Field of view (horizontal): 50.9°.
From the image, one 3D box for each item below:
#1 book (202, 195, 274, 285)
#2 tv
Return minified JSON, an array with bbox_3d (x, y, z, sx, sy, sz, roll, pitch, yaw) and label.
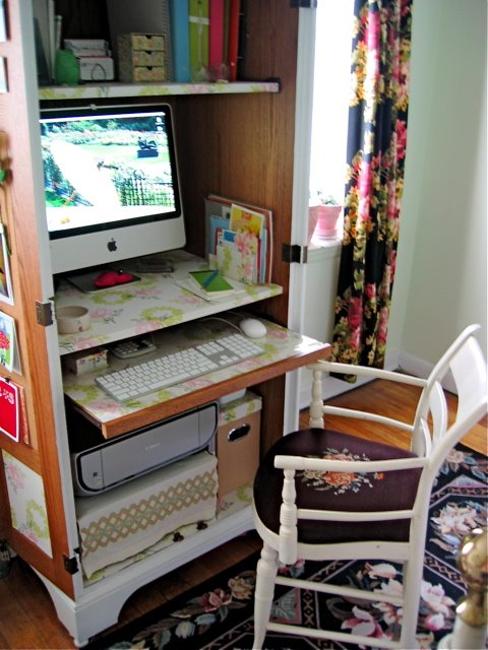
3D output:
[{"bbox_3d":[-0.009,-0.265,1.601,0.095,0.227,0.244,-10,24,-31],"label":"book"},{"bbox_3d":[-0.372,-0.354,1.418,0.448,0.489,0.181,-27,40,-19],"label":"tv"}]
